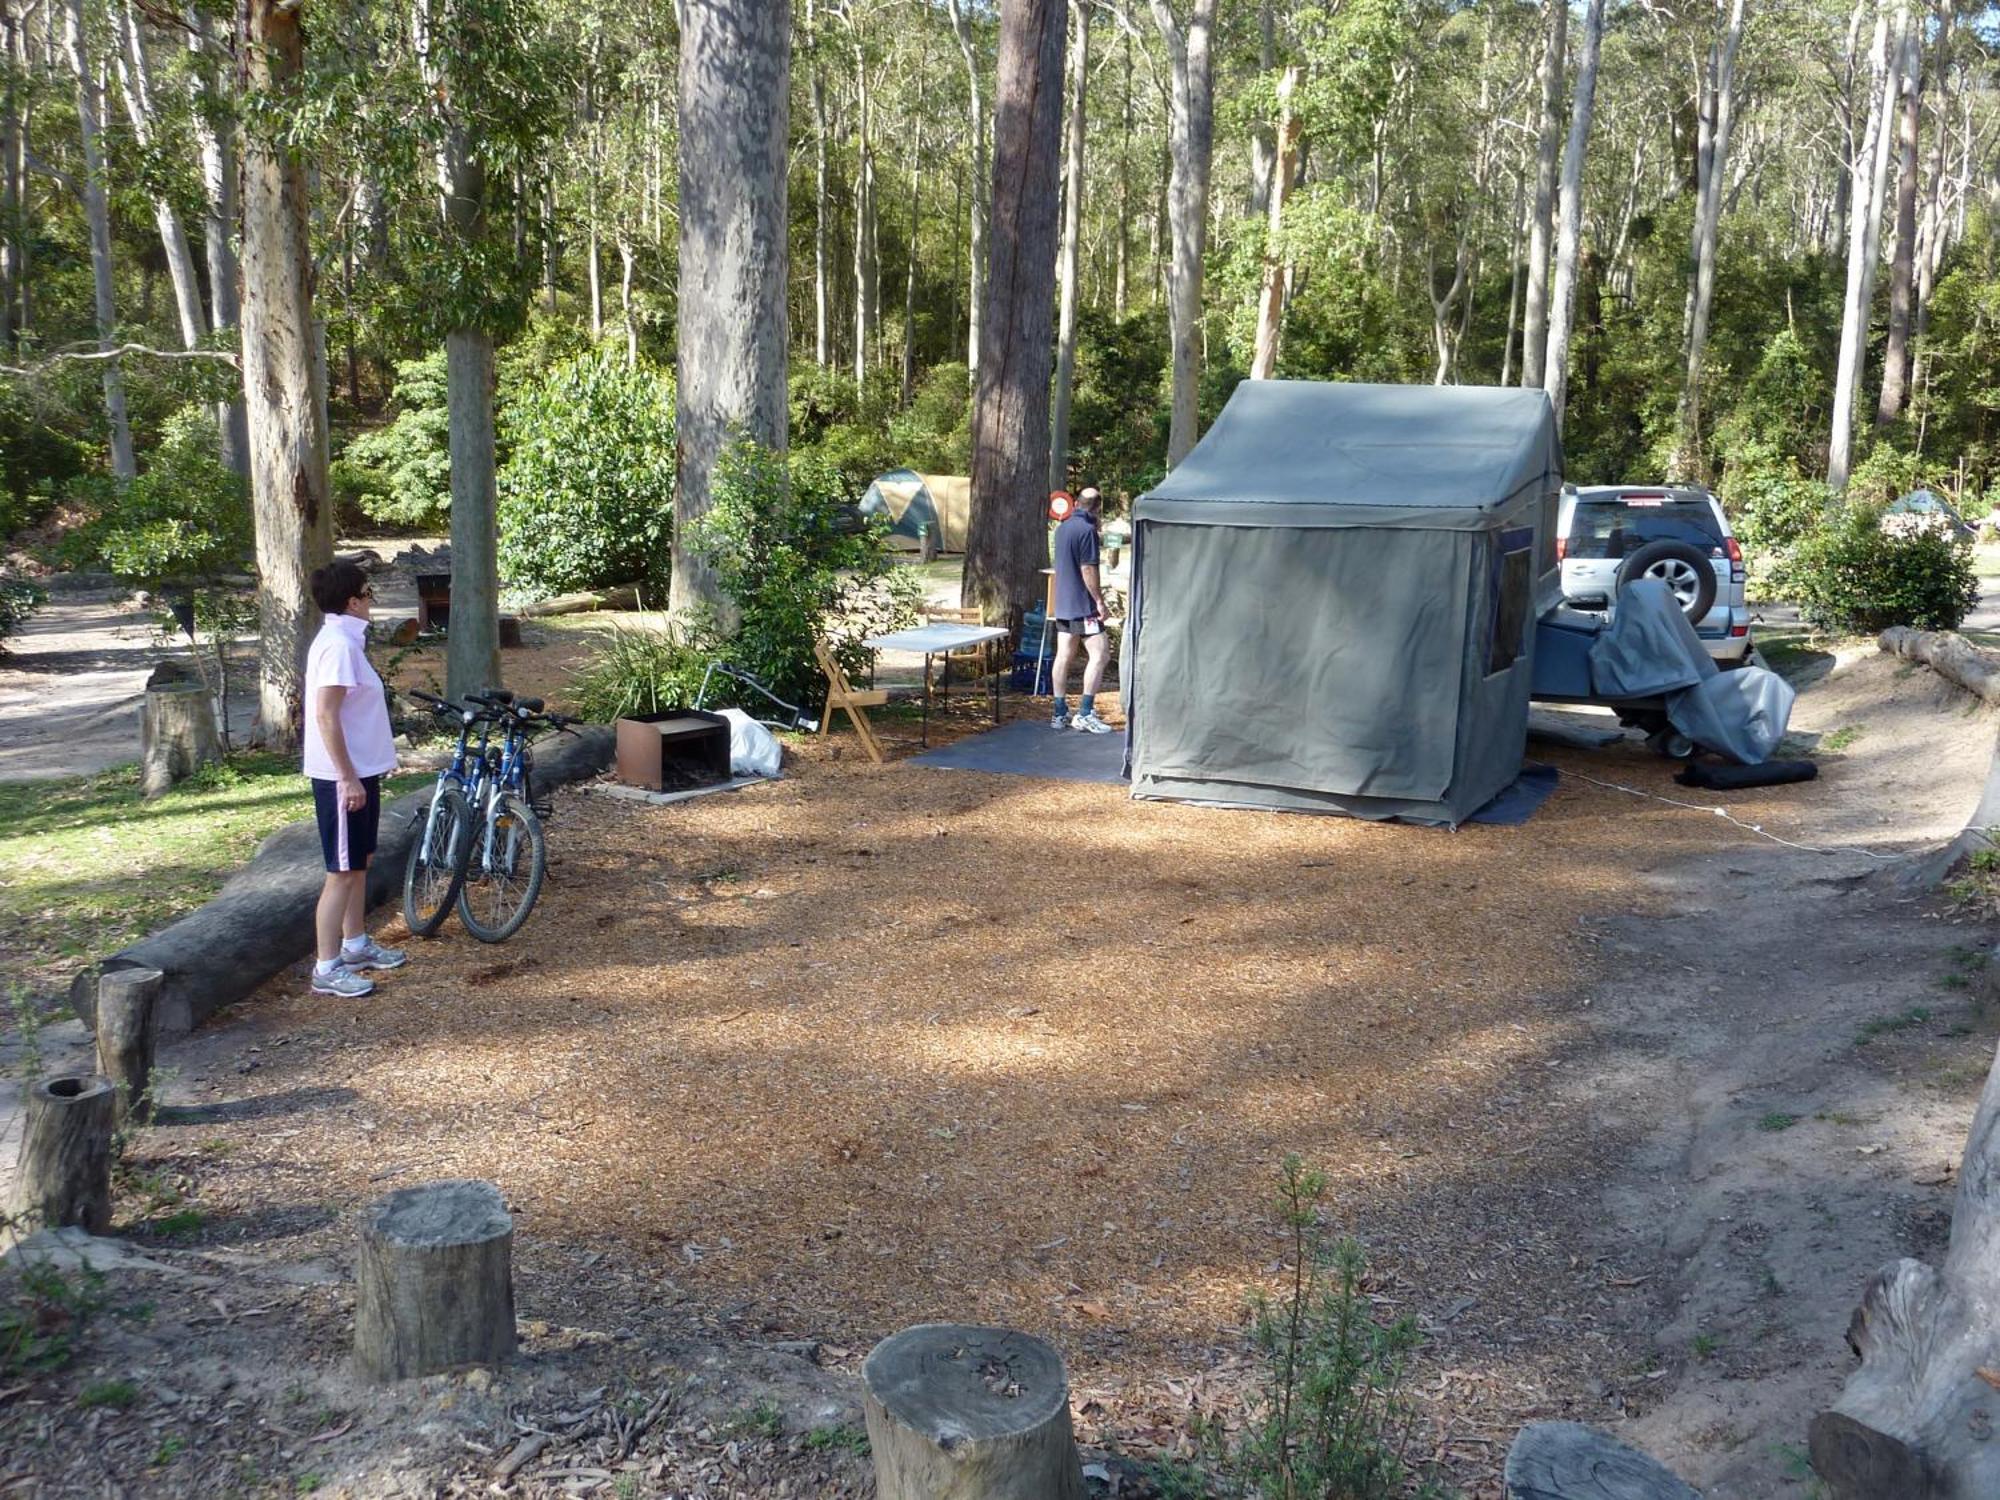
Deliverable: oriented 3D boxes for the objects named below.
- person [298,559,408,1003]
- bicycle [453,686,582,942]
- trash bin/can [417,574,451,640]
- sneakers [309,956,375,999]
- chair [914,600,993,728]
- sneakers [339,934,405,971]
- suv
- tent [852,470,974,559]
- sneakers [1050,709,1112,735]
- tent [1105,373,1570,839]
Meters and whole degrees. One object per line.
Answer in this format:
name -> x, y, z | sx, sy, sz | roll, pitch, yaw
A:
person -> -3.460, 0.170, 9.105 | 0.502, 2.311, 0.607 | -6, 15, -23
bicycle -> -2.899, 0.351, 10.189 | 0.613, 1.414, 1.009 | -4, 15, -18
trash bin/can -> -7.515, -1.969, 22.868 | 0.331, 0.753, 0.799 | -6, 16, -23
sneakers -> -3.535, 1.219, 9.344 | 0.366, 0.190, 0.167 | 4, 15, 6
chair -> -0.459, -0.771, 17.517 | 0.833, 0.930, 1.784 | 0, 17, 1
sneakers -> -3.454, 1.116, 9.510 | 0.314, 0.158, 0.128 | 6, 16, -37
suv -> 6.319, -1.618, 16.729 | 1.410, 1.522, 2.670 | -1, 17, 9
tent -> -1.673, -4.844, 35.973 | 1.840, 1.565, 2.338 | 2, 15, 4
sneakers -> 0.725, -0.245, 15.582 | 0.542, 0.261, 0.212 | 4, 12, -1
tent -> 3.062, -1.399, 14.344 | 2.886, 3.413, 4.439 | 6, 10, 31
